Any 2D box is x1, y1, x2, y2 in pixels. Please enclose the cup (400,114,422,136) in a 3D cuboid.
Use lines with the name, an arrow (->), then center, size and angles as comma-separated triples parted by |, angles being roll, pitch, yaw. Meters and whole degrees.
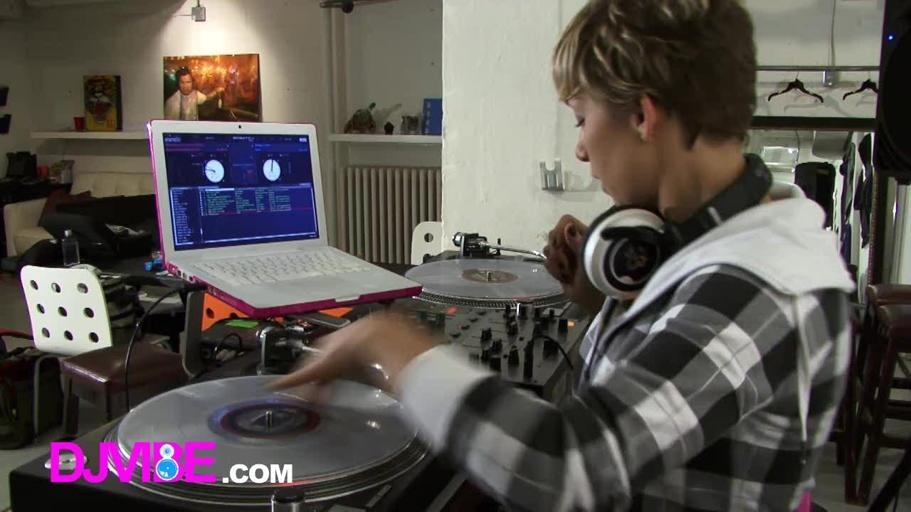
cup -> -0.391, -1.140, 5.764 | 0.166, 0.198, 0.080 | -1, -6, 11

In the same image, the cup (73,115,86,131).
cup -> -4.145, -1.452, 7.149 | 0.105, 0.137, 0.118 | -7, 12, -27

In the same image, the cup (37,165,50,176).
cup -> -4.745, -0.975, 7.465 | 0.135, 0.121, 0.136 | 2, 0, 0

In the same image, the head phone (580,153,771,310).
head phone -> 0.480, -0.054, 1.372 | 0.320, 0.135, 0.341 | -38, -3, 21

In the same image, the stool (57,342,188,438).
stool -> -1.376, 0.567, 2.748 | 0.474, 0.327, 0.456 | 4, 10, 25
